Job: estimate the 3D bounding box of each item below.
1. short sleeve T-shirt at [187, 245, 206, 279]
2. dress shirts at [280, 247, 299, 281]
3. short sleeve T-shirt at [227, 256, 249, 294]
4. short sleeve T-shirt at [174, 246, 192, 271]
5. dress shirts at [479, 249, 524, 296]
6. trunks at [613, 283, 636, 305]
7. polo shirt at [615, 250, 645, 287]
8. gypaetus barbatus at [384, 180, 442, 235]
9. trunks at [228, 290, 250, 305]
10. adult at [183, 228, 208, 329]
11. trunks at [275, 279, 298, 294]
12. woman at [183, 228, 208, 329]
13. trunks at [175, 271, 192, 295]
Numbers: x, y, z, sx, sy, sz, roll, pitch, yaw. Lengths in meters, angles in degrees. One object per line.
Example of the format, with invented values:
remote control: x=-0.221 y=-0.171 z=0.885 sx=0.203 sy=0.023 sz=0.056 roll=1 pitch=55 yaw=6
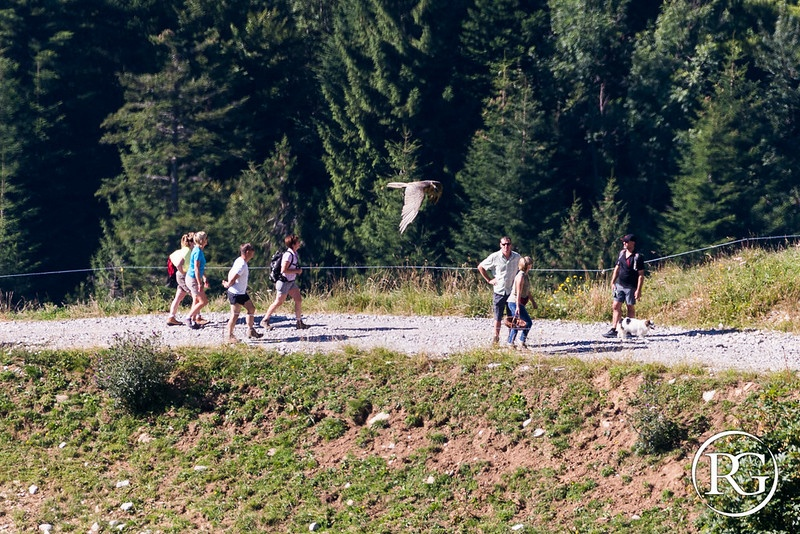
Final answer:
short sleeve T-shirt: x=-7.889 y=-0.167 z=54.340 sx=0.476 sy=1.042 sz=0.955 roll=9 pitch=6 yaw=-14
dress shirts: x=-4.123 y=-0.055 z=53.815 sx=0.806 sy=1.970 sz=1.054 roll=2 pitch=3 yaw=-9
short sleeve T-shirt: x=-6.142 y=0.341 z=53.379 sx=0.725 sy=1.414 sz=0.467 roll=-1 pitch=6 yaw=-23
short sleeve T-shirt: x=-8.375 y=-0.269 z=54.441 sx=0.696 sy=0.818 sz=0.406 roll=4 pitch=-1 yaw=28
dress shirts: x=3.868 y=0.297 z=53.465 sx=1.457 sy=1.658 sz=0.705 roll=1 pitch=3 yaw=-3
trunks: x=8.506 y=1.078 z=53.167 sx=0.916 sy=1.130 sz=0.605 roll=3 pitch=-6 yaw=23
polo shirt: x=8.684 y=0.126 z=53.087 sx=1.052 sy=1.421 sz=0.644 roll=14 pitch=13 yaw=38
gypaetus barbatus: x=0.568 y=-2.370 z=54.803 sx=1.522 sy=2.086 sz=4.616 roll=1 pitch=7 yaw=-4
trunks: x=-6.148 y=1.244 z=53.506 sx=0.617 sy=0.562 sz=0.497 roll=4 pitch=-4 yaw=-15
adult: x=-8.037 y=0.599 z=55.234 sx=1.080 sy=4.491 sz=1.290 roll=-5 pitch=32 yaw=-19
trunks: x=-4.411 y=0.772 z=53.993 sx=0.456 sy=0.571 sz=0.691 roll=-1 pitch=3 yaw=29
woman: x=-7.911 y=0.511 z=54.752 sx=0.823 sy=3.868 sz=1.004 roll=2 pitch=10 yaw=-6
trunks: x=-8.381 y=0.606 z=54.684 sx=0.375 sy=0.710 sz=0.543 roll=-28 pitch=43 yaw=-26
